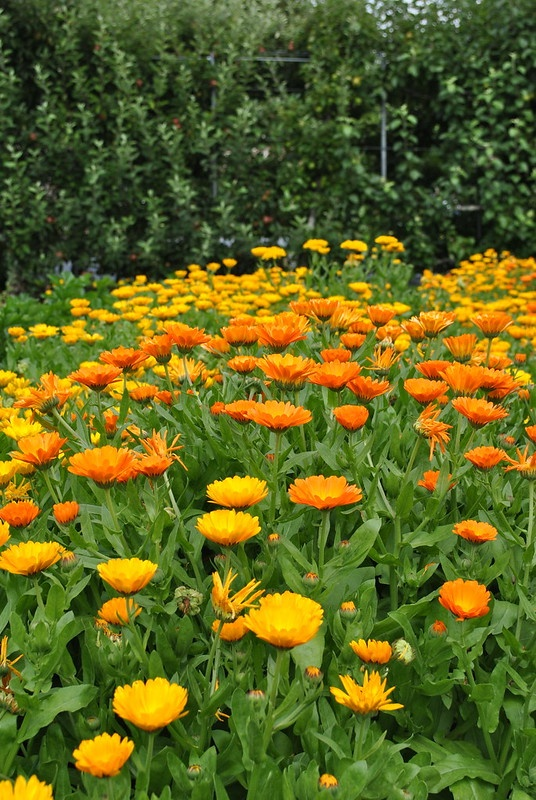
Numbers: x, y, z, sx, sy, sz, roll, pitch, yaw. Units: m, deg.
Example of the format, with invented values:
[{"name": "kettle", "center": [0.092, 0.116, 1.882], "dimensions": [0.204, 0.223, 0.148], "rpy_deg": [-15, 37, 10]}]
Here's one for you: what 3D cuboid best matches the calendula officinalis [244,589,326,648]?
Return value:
[{"name": "calendula officinalis", "center": [0.014, 0.201, 0.717], "dimensions": [0.068, 0.040, 0.076], "rpy_deg": [0, 20, 10]}]
